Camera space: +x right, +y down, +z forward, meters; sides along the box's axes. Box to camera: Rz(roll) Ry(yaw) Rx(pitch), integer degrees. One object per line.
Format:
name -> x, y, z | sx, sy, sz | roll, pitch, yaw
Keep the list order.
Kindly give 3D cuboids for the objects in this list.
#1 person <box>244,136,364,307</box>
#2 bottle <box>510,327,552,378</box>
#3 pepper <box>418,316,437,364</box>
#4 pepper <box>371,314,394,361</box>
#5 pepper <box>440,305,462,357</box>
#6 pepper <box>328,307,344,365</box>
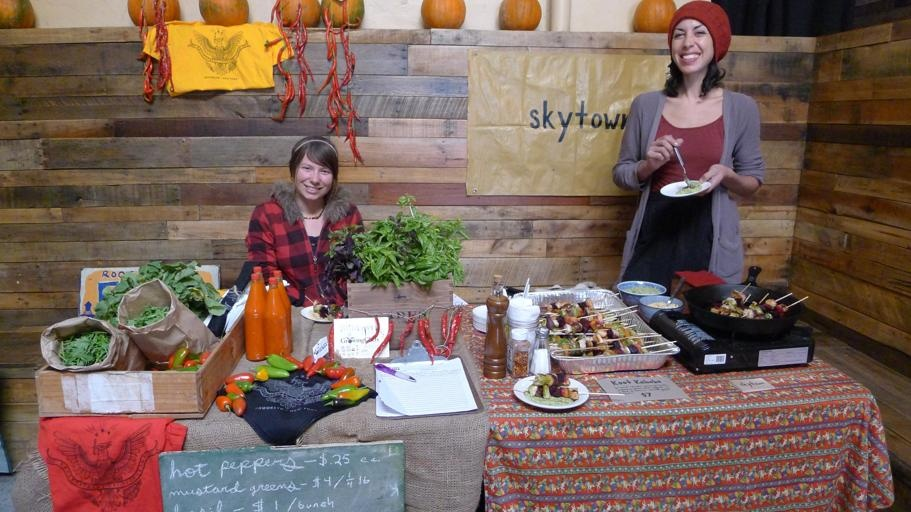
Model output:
person -> -0.974, -0.137, 4.189 | 0.960, 1.215, 0.799 | -1, 11, -18
bottle -> 0.379, 0.501, 3.161 | 0.308, 0.242, 0.114 | -1, -1, -12
pepper -> -0.173, 0.448, 3.253 | 0.080, 0.235, 0.067 | -7, -27, -39
pepper -> -0.376, 0.423, 3.284 | 0.072, 0.277, 0.051 | 25, -16, -13
pepper -> -0.021, 0.409, 3.321 | 0.131, 0.222, 0.052 | 4, -7, -13
pepper -> -0.655, 0.431, 3.311 | 0.091, 0.295, 0.068 | 6, -3, -20
